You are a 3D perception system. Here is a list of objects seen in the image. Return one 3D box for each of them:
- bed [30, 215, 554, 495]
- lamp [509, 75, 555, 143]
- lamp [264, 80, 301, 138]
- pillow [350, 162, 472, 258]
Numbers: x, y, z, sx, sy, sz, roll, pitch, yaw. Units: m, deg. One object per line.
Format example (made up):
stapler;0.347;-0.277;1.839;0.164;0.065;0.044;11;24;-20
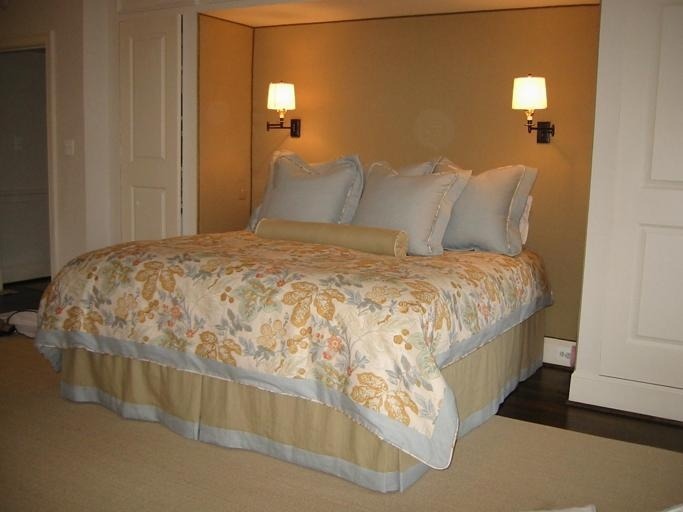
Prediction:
bed;-0.296;0.428;2.900;1.560;0.613;1.615;6;11;27
lamp;1.403;-1.040;3.992;0.326;0.497;0.239;1;18;10
lamp;-0.508;-1.286;4.878;0.246;0.479;0.311;15;15;35
pillow;0.373;-0.286;3.757;0.829;0.616;0.418;7;-8;44
